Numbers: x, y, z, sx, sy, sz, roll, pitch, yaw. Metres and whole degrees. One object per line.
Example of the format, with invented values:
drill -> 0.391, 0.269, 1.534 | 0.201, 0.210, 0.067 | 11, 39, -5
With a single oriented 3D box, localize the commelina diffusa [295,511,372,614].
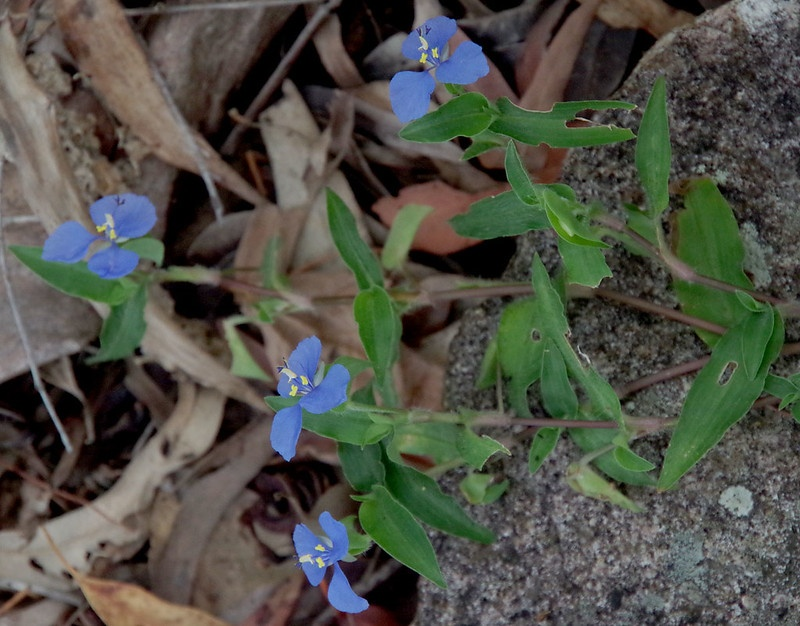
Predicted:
commelina diffusa -> -0.115, 0.473, 1.798 | 0.158, 0.083, 0.202 | -30, 68, 20

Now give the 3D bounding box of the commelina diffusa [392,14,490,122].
commelina diffusa -> 0.084, -0.475, 1.719 | 0.204, 0.200, 0.082 | -17, 55, -20
